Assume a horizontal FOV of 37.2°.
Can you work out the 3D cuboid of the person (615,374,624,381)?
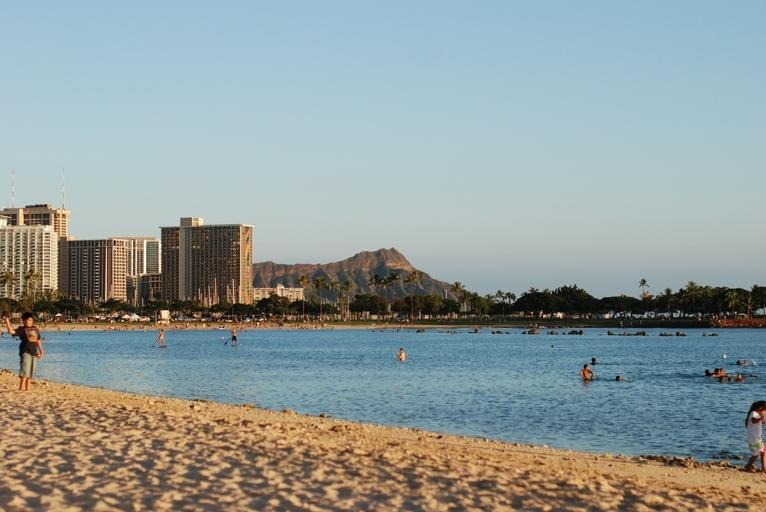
[{"bbox_3d":[20.441,10.504,97.479,0.429,0.608,1.279,3,0,-4],"label":"person"}]
